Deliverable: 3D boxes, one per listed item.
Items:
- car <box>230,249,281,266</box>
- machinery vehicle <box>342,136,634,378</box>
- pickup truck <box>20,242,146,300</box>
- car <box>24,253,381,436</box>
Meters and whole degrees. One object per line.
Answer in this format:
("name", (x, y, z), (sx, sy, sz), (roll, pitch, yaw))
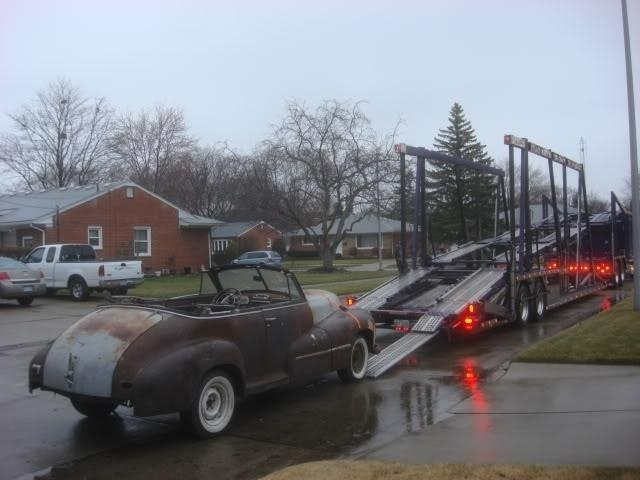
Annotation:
("car", (-4.220, 1.121, 38.036), (1.946, 0.748, 0.973), (2, 0, 28))
("machinery vehicle", (5.750, -0.033, 18.893), (4.059, 5.641, 18.398), (-2, 0, 34))
("pickup truck", (-8.778, 1.135, 21.856), (3.912, 1.522, 2.110), (4, 2, 34))
("car", (-1.295, 1.450, 8.555), (2.141, 1.734, 4.584), (-1, 2, 34))
